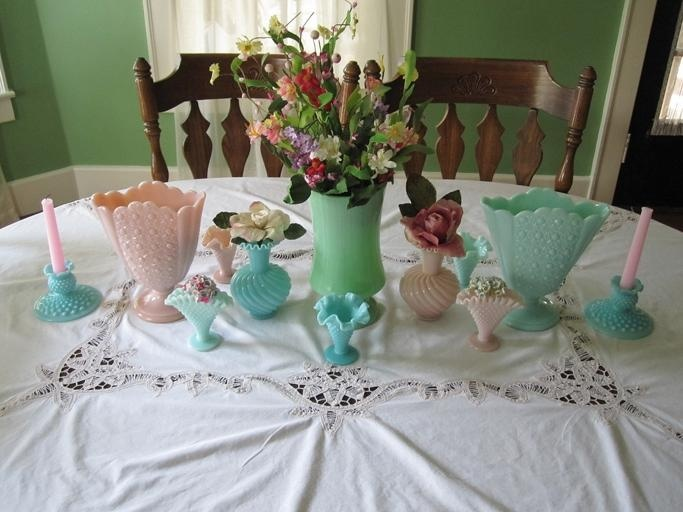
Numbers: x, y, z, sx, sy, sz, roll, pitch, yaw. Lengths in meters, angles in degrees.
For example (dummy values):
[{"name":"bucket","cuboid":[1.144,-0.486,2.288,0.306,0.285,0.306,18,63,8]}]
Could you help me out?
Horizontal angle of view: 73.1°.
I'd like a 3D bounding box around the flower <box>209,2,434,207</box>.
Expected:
[{"name":"flower","cuboid":[-0.091,-0.294,1.060,0.367,0.519,0.730,-4,28,-13]}]
